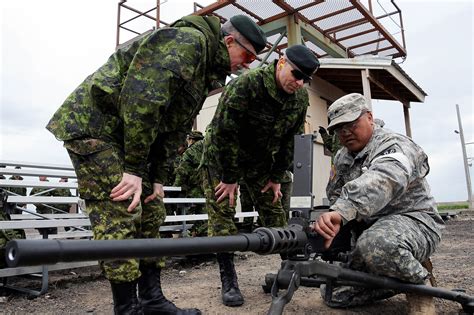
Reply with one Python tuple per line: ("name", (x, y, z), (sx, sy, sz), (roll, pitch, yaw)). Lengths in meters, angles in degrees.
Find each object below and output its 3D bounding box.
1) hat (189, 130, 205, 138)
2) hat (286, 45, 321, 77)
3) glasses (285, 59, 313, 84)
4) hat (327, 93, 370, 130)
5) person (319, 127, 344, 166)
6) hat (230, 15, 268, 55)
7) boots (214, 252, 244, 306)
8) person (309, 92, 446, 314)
("hat", (-0.830, -0.475, 7.908), (0.424, 0.149, 0.435), (1, -3, -11))
("hat", (0.655, -1.018, 3.927), (0.275, 0.116, 0.358), (31, 23, -39))
("glasses", (0.625, -0.888, 3.967), (0.235, 0.080, 0.247), (31, 18, -45))
("hat", (1.101, -0.478, 3.918), (0.423, 0.294, 0.583), (-25, -7, 29))
("person", (1.709, -0.222, 7.079), (0.303, 0.429, 0.959), (9, 17, -3))
("hat", (0.128, -1.163, 3.554), (0.360, 0.137, 0.315), (43, 14, -2))
("boots", (-0.076, 1.313, 4.153), (0.230, 0.508, 0.618), (-4, -7, -11))
("person", (1.301, 0.262, 3.700), (1.374, 1.823, 0.721), (2, -6, -18))
